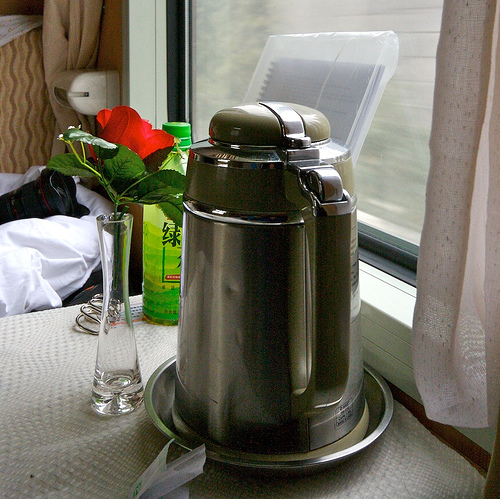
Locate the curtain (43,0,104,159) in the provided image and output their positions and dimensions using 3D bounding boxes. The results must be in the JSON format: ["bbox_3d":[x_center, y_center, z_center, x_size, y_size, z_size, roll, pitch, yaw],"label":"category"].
[{"bbox_3d":[-0.662,-0.608,1.720,0.217,0.591,0.449,-10,29,-25],"label":"curtain"}]

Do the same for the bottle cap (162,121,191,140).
[{"bbox_3d":[-0.100,-0.164,0.625,0.033,0.031,0.033,18,25,40],"label":"bottle cap"}]
